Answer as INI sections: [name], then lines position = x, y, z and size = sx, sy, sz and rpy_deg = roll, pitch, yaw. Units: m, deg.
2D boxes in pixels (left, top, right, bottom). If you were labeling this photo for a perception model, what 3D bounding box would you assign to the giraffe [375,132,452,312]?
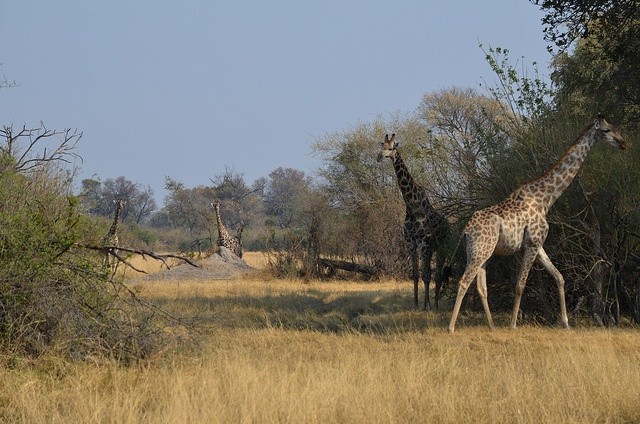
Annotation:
[giraffe]
position = 2.402, 0.188, 17.159
size = 1.590, 4.402, 1.353
rpy_deg = 1, -16, 1
